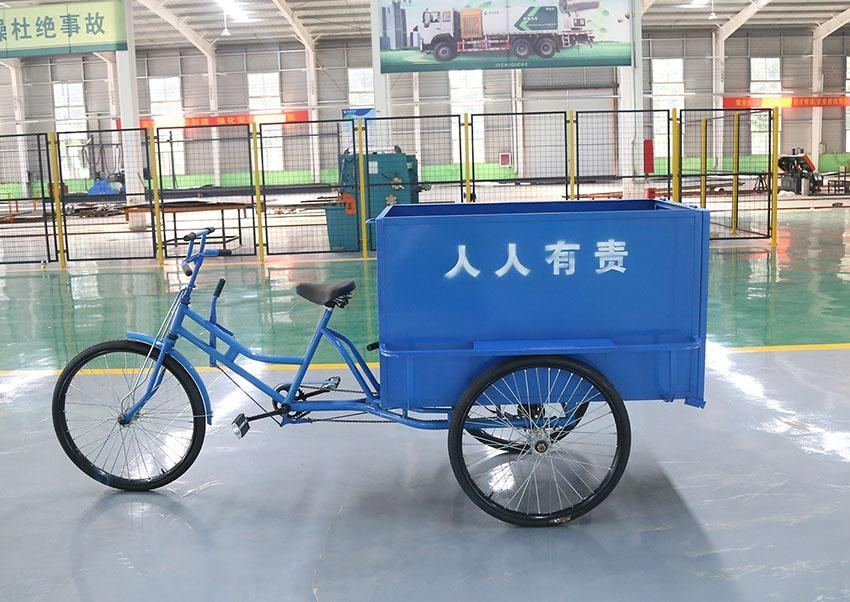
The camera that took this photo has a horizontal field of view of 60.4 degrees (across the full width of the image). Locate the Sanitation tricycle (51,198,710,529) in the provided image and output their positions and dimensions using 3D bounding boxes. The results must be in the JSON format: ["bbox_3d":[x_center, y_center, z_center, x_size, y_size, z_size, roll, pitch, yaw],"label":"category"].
[{"bbox_3d":[-0.627,0.247,5.137,5.122,1.837,1.842,1,6,0],"label":"Sanitation tricycle"}]

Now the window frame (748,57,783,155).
[{"bbox_3d":[14.684,-8.421,31.727,1.315,5.060,0.240,8,54,26],"label":"window frame"}]

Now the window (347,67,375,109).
[{"bbox_3d":[-2.723,-8.928,30.374,1.033,1.632,0.766,-4,8,-12],"label":"window"}]

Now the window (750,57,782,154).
[{"bbox_3d":[14.295,-8.170,30.881,1.186,4.219,0.254,4,-5,21],"label":"window"}]

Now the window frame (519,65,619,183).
[{"bbox_3d":[5.454,-5.827,27.600,3.623,3.324,0.118,-1,52,10],"label":"window frame"}]

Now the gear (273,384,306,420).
[{"bbox_3d":[-0.841,0.620,4.641,0.245,0.193,0.073,0,-8,1],"label":"gear"}]
